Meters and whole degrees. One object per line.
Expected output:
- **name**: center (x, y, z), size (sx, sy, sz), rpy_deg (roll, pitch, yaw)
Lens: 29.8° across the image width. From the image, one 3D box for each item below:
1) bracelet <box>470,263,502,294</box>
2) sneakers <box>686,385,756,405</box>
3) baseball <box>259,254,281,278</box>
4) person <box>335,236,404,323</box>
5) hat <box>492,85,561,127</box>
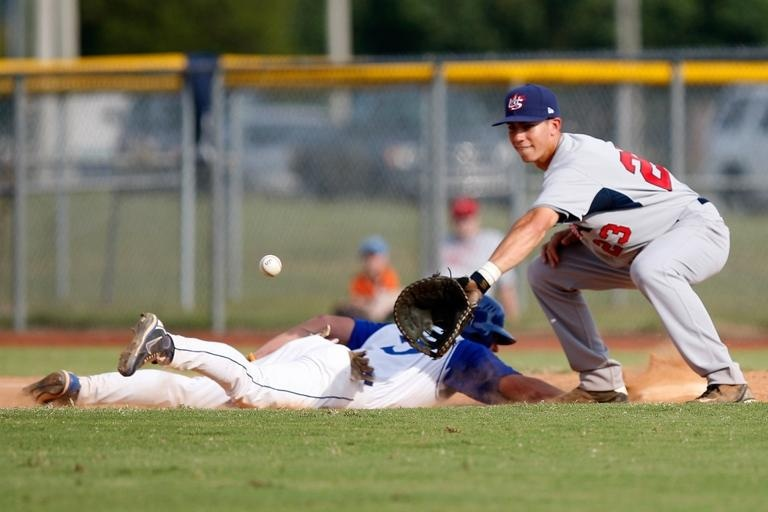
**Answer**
- **bracelet**: center (0.968, 0.206, 13.475), size (0.157, 0.229, 0.309), rpy_deg (41, -22, -23)
- **sneakers**: center (3.280, 1.330, 13.997), size (0.670, 0.266, 0.224), rpy_deg (0, -1, 0)
- **baseball**: center (-1.194, 0.107, 14.863), size (0.222, 0.218, 0.133), rpy_deg (6, -9, -22)
- **person**: center (-0.229, 0.360, 18.042), size (0.936, 1.127, 1.042), rpy_deg (-8, 5, -8)
- **hat**: center (1.399, -1.465, 14.059), size (0.535, 0.299, 0.367), rpy_deg (-8, 8, -41)
